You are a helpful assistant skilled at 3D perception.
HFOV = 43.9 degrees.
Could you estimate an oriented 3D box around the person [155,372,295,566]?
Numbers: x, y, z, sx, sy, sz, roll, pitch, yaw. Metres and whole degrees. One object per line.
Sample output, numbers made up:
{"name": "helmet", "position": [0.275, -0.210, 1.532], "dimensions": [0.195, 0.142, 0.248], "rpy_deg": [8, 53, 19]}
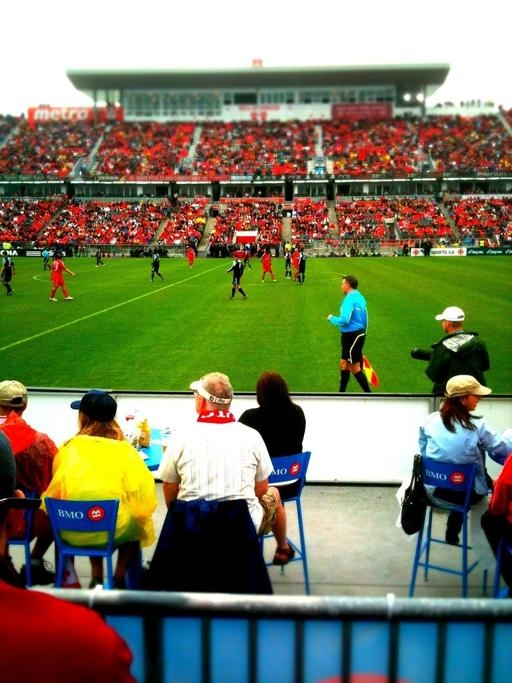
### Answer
{"name": "person", "position": [-0.156, 0.616, 3.137], "dimensions": [0.624, 0.890, 0.545], "rpy_deg": [1, 6, -16]}

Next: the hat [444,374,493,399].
{"name": "hat", "position": [1.401, 0.302, 4.177], "dimensions": [0.229, 0.104, 0.154], "rpy_deg": [-3, 4, -3]}

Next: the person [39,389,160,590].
{"name": "person", "position": [-0.903, 0.878, 3.557], "dimensions": [0.699, 1.150, 0.651], "rpy_deg": [-1, 1, -23]}

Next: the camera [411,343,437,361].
{"name": "camera", "position": [1.634, 0.107, 6.287], "dimensions": [0.157, 0.195, 0.518], "rpy_deg": [11, -1, -3]}

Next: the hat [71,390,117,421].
{"name": "hat", "position": [-0.904, 0.357, 3.491], "dimensions": [0.221, 0.110, 0.147], "rpy_deg": [20, 23, 20]}

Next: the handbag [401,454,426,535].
{"name": "handbag", "position": [1.018, 0.980, 4.060], "dimensions": [0.156, 0.466, 0.338], "rpy_deg": [4, 6, 15]}

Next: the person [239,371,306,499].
{"name": "person", "position": [0.120, 0.711, 4.231], "dimensions": [0.408, 1.045, 0.322], "rpy_deg": [-7, 24, -18]}

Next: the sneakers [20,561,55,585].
{"name": "sneakers", "position": [-1.318, 1.370, 3.787], "dimensions": [0.213, 0.137, 0.107], "rpy_deg": [-1, 4, -1]}
